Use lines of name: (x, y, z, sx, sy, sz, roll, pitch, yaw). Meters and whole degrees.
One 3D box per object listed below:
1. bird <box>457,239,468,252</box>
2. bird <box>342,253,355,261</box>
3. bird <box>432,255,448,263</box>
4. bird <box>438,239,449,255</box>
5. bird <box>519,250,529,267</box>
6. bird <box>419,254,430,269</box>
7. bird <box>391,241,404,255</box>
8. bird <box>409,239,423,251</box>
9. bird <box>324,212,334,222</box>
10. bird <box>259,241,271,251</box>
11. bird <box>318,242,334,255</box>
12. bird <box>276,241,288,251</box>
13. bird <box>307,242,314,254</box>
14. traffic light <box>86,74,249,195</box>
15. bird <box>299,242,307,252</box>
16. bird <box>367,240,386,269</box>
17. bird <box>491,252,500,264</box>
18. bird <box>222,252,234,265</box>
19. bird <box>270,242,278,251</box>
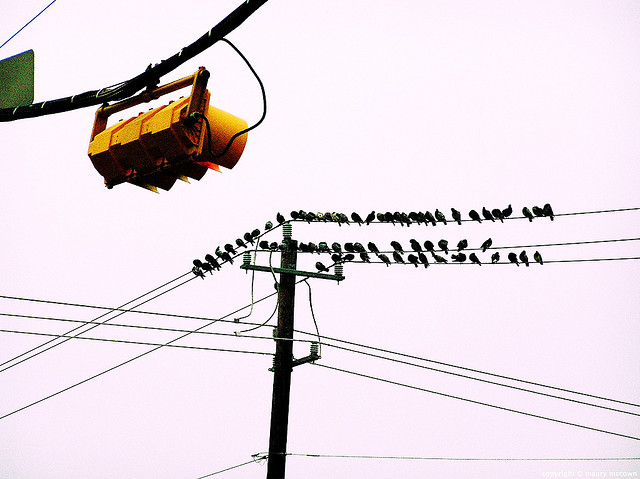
bird: (2.333, 0.089, 20.045, 0.116, 0.122, 0.187, 13, -97, -1)
bird: (0.598, 0.374, 26.480, 0.155, 0.251, 0.087, -1, -86, 19)
bird: (1.911, 0.314, 19.548, 0.276, 0.165, 0.095, 20, -89, 17)
bird: (1.946, 0.101, 19.284, 0.164, 0.218, 0.246, -4, -83, -4)
bird: (3.159, 0.285, 19.002, 0.131, 0.233, 0.242, -10, -76, -5)
bird: (1.771, 0.352, 20.830, 0.114, 0.210, 0.312, -15, -97, -6)
bird: (1.321, 0.150, 20.911, 0.233, 0.122, 0.251, -14, -109, -9)
bird: (1.566, 0.091, 20.058, 0.191, 0.109, 0.183, 11, -116, -24)
bird: (0.173, -0.499, 27.066, 0.160, 0.079, 0.245, -2, -89, 16)
bird: (-1.213, 0.127, 26.686, 0.196, 0.104, 0.299, -4, -94, 5)
bird: (0.103, 0.164, 26.389, 0.209, 0.130, 0.305, -4, -86, -6)
bird: (-0.747, 0.144, 24.511, 0.064, 0.071, 0.183, 37, -76, 41)
bird: (-0.176, 0.153, 23.241, 0.126, 0.153, 0.180, -5, -107, 10)
traffic light: (-2.264, -1.578, 18.287, 2.159, 1.162, 1.185, -12, -109, 37)
bird: (-0.306, 0.139, 22.779, 0.124, 0.175, 0.135, -2, -103, 7)
bird: (1.076, 0.233, 25.897, 0.274, 1.061, 0.470, -8, -76, -10)
bird: (2.948, 0.319, 20.603, 0.115, 0.095, 0.249, 8, -82, 9)
bird: (-1.624, 0.302, 21.685, 0.120, 0.109, 0.272, -28, -97, 29)
bird: (-0.850, 0.139, 22.869, 0.106, 0.129, 0.148, -3, -114, 10)
